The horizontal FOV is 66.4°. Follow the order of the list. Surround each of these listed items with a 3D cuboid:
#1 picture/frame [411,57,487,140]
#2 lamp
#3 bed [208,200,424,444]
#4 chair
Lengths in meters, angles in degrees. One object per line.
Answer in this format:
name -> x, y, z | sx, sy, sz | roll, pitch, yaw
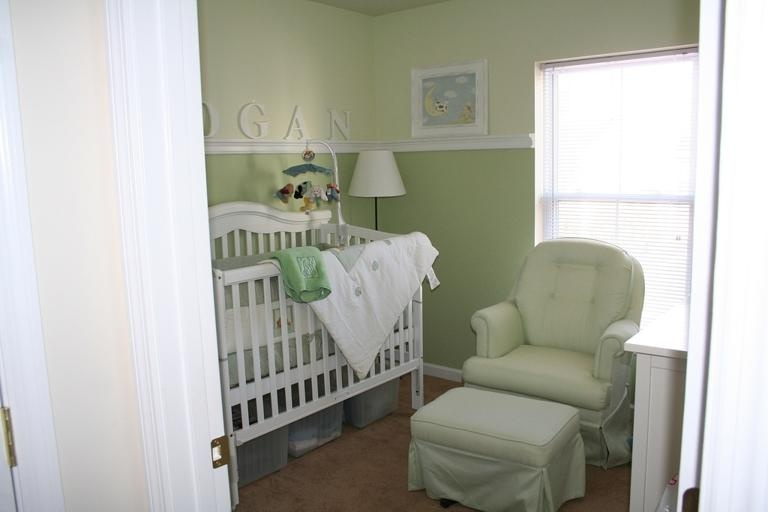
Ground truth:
picture/frame -> 0.478, -1.123, 4.133 | 0.596, 0.515, 0.050 | 7, 16, 39
lamp -> -0.063, -0.396, 4.319 | 0.407, 0.777, 0.404 | 1, 17, 5
bed -> -0.364, 0.393, 3.167 | 0.809, 1.078, 1.347 | 1, 6, 39
chair -> 1.037, 0.511, 3.411 | 0.927, 1.076, 0.890 | 9, 16, 44
